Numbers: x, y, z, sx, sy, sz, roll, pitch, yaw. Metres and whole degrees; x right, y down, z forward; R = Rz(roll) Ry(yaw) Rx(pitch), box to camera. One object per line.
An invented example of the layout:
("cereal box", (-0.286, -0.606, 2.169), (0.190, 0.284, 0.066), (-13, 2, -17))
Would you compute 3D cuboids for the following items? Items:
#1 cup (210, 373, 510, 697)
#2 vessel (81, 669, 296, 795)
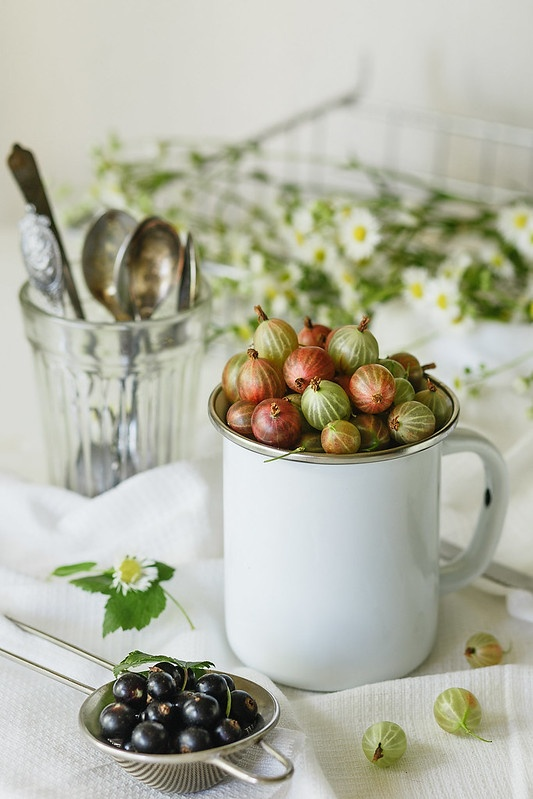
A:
("cup", (0.046, 0.064, 0.398), (0.139, 0.118, 0.110), (-3, 12, -9))
("vessel", (-0.021, 0.105, 0.281), (0.058, 0.017, 0.042), (16, 16, 39))
